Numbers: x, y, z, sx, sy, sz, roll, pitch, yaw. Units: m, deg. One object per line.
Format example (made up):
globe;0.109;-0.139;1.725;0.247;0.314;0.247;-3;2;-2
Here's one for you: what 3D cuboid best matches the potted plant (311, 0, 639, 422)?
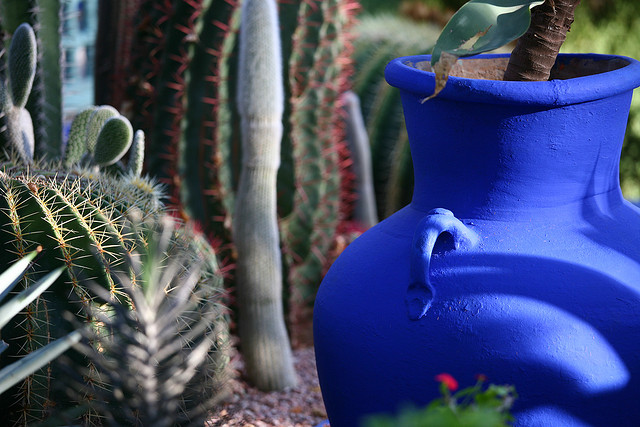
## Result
potted plant;0.296;0.024;1.372;0.597;0.499;0.234;1;0;-3
